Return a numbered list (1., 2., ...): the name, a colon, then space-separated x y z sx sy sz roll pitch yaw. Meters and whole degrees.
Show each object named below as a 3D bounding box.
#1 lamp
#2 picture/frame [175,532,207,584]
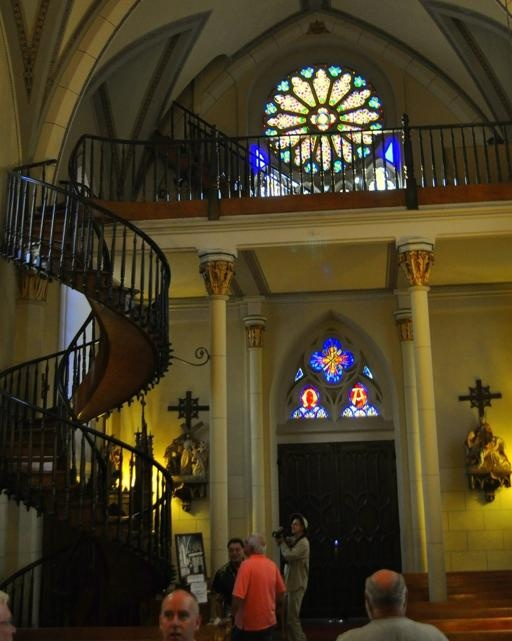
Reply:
1. lamp: 0.939 -3.427 11.678 2.189 2.824 0.588 2 -1 9
2. picture/frame: -0.745 2.752 8.509 0.323 0.568 0.028 -4 15 4
